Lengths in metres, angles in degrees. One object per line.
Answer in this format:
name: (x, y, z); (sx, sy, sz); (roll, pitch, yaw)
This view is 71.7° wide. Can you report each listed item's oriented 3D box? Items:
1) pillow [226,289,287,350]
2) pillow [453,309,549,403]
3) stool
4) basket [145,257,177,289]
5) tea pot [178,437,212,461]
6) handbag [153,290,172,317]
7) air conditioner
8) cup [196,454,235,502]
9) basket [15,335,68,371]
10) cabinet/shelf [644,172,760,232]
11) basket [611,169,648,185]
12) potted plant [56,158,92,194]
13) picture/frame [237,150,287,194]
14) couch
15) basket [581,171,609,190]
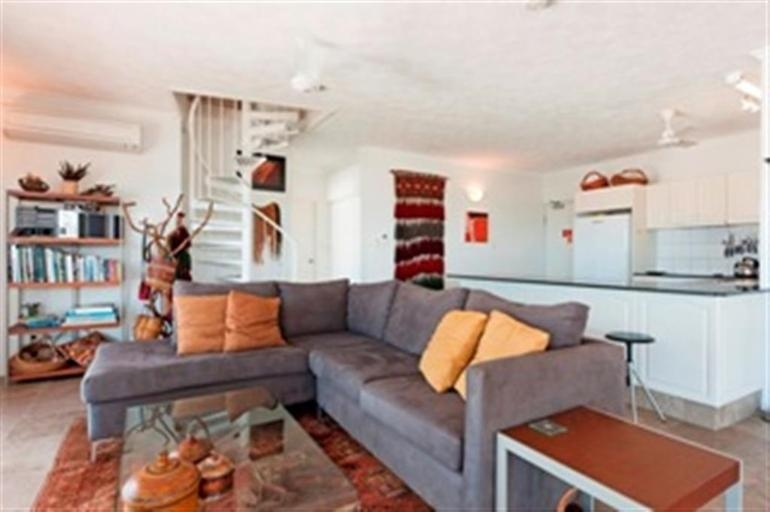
pillow: (-1.296, 0.649, 5.236); (0.559, 0.476, 0.199); (9, -30, -32)
pillow: (0.904, 0.790, 4.189); (0.692, 0.646, 0.533); (-1, 3, -22)
stool: (2.615, 1.164, 5.432); (0.860, 1.072, 0.838); (1, -3, 11)
basket: (-2.362, 0.202, 5.830); (0.366, 0.337, 0.336); (0, -14, -8)
tea pot: (-1.329, 1.352, 3.714); (0.201, 0.084, 0.184); (5, 17, -2)
handbag: (-2.550, 0.545, 6.082); (0.363, 0.299, 0.089); (11, 3, 44)
air conditioner: (-3.619, -1.434, 6.200); (1.443, 0.382, 0.220); (-1, 3, -19)
cup: (-1.159, 1.509, 3.633); (0.257, 0.194, 0.259); (2, -4, 0)
basket: (-3.875, 1.123, 5.967); (0.517, 0.316, 0.381); (-2, 4, -41)
cabinet/shelf: (4.344, -0.721, 7.208); (0.369, 0.484, 1.118); (3, -4, -35)
basket: (3.656, -1.161, 7.945); (0.379, 0.152, 0.379); (3, 6, 37)
potted plant: (-3.593, -0.910, 6.156); (0.317, 0.406, 0.302); (-2, 4, -30)
picture/frame: (-1.809, -1.202, 7.651); (0.965, 0.586, 0.100); (4, -5, -40)
couch: (-0.242, 1.038, 4.386); (2.522, 1.007, 3.001); (3, -2, -34)
basket: (3.311, -1.179, 8.407); (0.391, 0.327, 0.363); (-1, 20, 25)
